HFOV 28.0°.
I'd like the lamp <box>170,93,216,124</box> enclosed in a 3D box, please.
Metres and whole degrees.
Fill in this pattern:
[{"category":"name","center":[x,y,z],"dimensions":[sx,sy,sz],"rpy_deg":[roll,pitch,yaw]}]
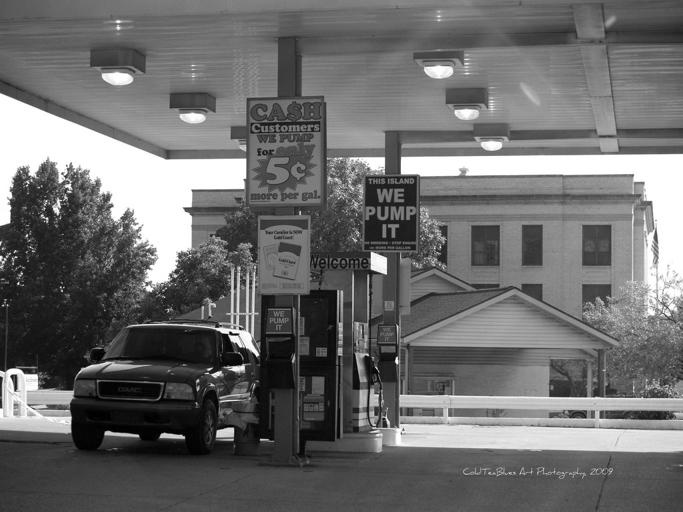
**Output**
[{"category":"lamp","center":[-3.036,-3.028,28.300],"dimensions":[0.679,0.453,0.656],"rpy_deg":[0,-4,4]}]

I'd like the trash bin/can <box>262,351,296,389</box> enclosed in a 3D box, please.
[{"category":"trash bin/can","center":[-1.026,1.989,23.591],"dimensions":[0.803,0.723,0.552],"rpy_deg":[0,-2,4]}]

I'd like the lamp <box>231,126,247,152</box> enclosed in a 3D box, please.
[{"category":"lamp","center":[-2.278,-2.604,30.305],"dimensions":[0.362,0.413,0.987],"rpy_deg":[3,-9,-7]}]

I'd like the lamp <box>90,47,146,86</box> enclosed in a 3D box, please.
[{"category":"lamp","center":[-4.144,-3.578,25.832],"dimensions":[0.759,0.518,0.729],"rpy_deg":[0,-2,5]}]

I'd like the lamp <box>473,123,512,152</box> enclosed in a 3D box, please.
[{"category":"lamp","center":[3.232,-2.568,29.721],"dimensions":[0.607,0.443,0.608],"rpy_deg":[1,-7,4]}]

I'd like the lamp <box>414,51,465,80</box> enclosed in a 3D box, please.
[{"category":"lamp","center":[1.767,-3.513,25.060],"dimensions":[0.869,0.448,0.502],"rpy_deg":[0,-9,10]}]

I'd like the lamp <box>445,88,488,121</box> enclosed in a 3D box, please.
[{"category":"lamp","center":[2.489,-3.037,27.530],"dimensions":[0.672,0.470,0.668],"rpy_deg":[0,-4,5]}]

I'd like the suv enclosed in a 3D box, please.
[{"category":"suv","center":[-3.264,2.167,24.900],"dimensions":[2.090,1.537,3.328],"rpy_deg":[-3,-14,11]}]
